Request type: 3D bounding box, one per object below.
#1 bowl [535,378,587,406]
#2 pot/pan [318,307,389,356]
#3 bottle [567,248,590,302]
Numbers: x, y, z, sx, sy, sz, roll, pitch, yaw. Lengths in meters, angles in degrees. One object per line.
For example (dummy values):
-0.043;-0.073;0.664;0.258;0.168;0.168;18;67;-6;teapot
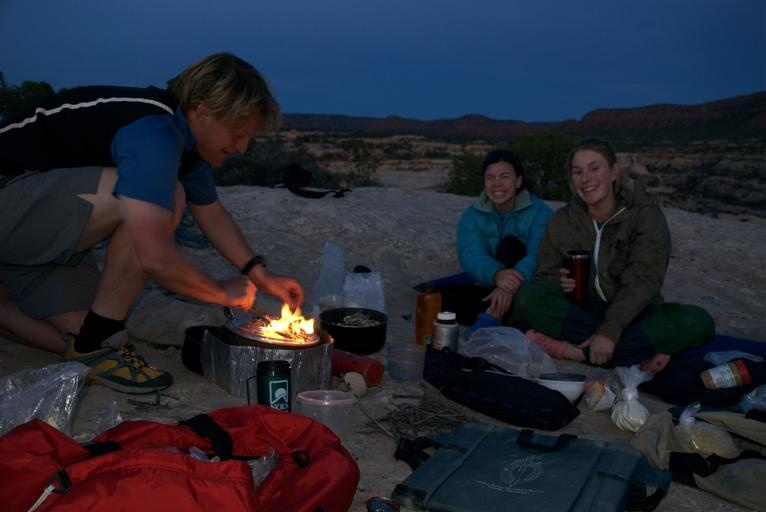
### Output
1.123;0.818;3.073;0.231;0.100;0.183;1;-3;8;bowl
-0.242;0.550;3.863;0.439;0.179;0.387;5;3;30;pot/pan
1.496;0.154;3.851;0.176;0.389;0.127;13;21;36;bottle
